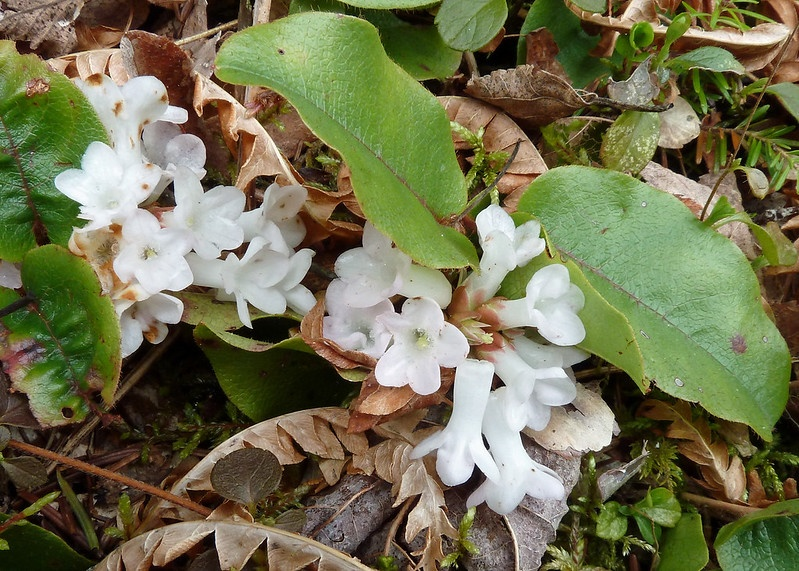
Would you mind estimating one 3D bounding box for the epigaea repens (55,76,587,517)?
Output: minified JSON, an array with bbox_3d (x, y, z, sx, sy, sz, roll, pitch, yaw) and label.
[{"bbox_3d":[-0.130,0.022,1.474,1.070,0.512,0.468,18,62,8],"label":"epigaea repens"}]
